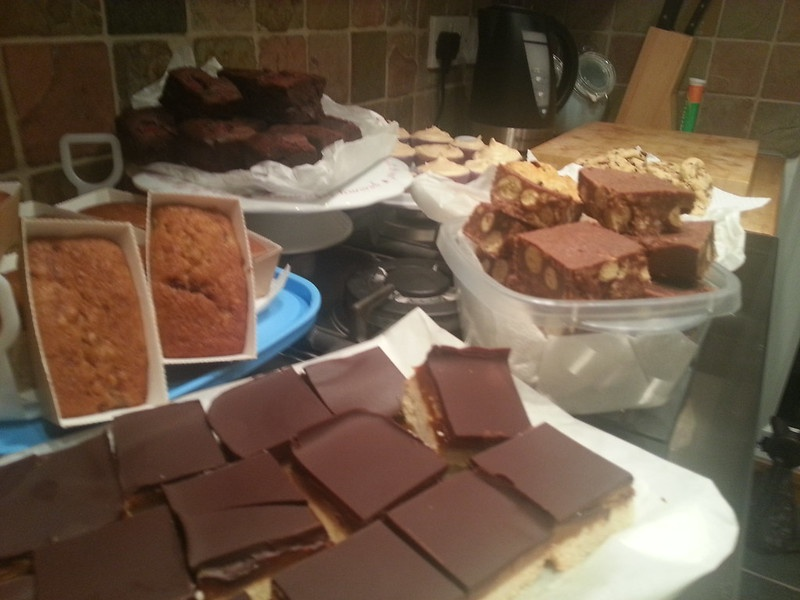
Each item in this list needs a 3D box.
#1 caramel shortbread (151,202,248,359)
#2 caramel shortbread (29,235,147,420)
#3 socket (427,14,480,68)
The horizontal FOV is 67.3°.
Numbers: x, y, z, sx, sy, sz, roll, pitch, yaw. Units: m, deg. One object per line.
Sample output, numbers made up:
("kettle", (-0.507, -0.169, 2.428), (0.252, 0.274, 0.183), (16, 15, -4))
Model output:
("caramel shortbread", (-0.191, -0.019, 0.601), (0.105, 0.145, 0.035), (-1, 4, -39))
("caramel shortbread", (-0.287, 0.023, 0.556), (0.092, 0.154, 0.051), (-13, 8, -38))
("socket", (0.146, -0.673, 1.536), (0.078, 0.158, 0.199), (18, 29, 37))
